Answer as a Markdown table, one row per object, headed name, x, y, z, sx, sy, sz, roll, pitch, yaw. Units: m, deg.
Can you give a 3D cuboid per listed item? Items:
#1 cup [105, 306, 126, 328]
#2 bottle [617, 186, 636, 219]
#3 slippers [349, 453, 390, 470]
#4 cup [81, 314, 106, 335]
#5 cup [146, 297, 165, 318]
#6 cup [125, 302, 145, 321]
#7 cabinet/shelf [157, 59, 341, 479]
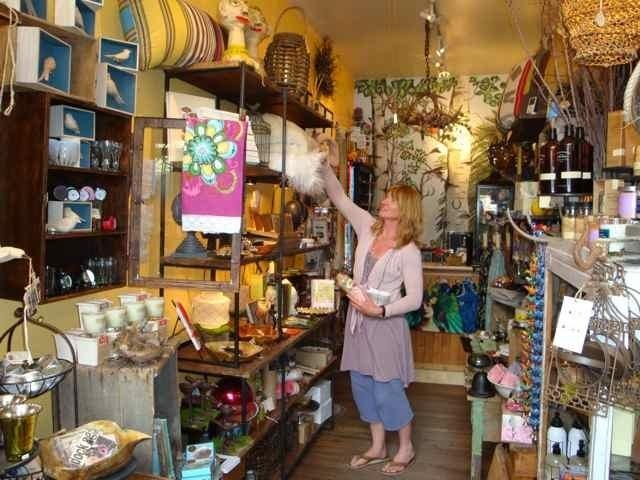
| name | x | y | z | sx | sy | sz | roll | pitch | yaw |
| --- | --- | --- | --- | --- | --- | --- | --- | --- | --- |
| cup | -0.908 | 0.347 | 2.390 | 0.085 | 0.091 | 0.084 | 3 | 0 | 0 |
| bottle | 1.337 | -0.163 | 2.327 | 0.067 | 0.141 | 0.136 | -1 | 3 | 30 |
| slippers | 0.350 | 1.586 | 3.873 | 0.241 | 0.081 | 0.101 | 2 | -6 | -6 |
| cup | -0.977 | 0.363 | 2.321 | 0.085 | 0.079 | 0.087 | 5 | 0 | 0 |
| cup | -0.791 | 0.322 | 2.578 | 0.085 | 0.090 | 0.079 | 1 | 0 | 0 |
| cup | -0.855 | 0.332 | 2.491 | 0.087 | 0.092 | 0.091 | 2 | 0 | 0 |
| cabinet/shelf | -0.368 | 0.290 | 3.725 | 0.830 | 2.662 | 2.268 | -2 | 2 | 6 |
